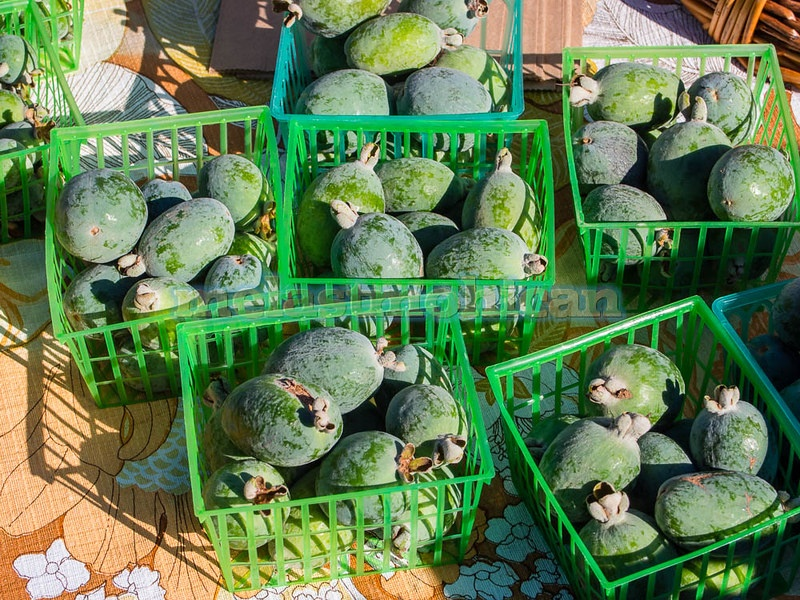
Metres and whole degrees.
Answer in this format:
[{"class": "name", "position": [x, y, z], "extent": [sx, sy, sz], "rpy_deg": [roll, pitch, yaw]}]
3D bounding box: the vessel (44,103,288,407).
[{"class": "vessel", "position": [-0.564, -0.147, 1.782], "extent": [0.612, 0.420, 0.732], "rpy_deg": [-6, 75, -10]}]

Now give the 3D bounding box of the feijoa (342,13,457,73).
[{"class": "feijoa", "position": [-0.007, -0.609, 1.813], "extent": [0.241, 0.148, 0.133], "rpy_deg": [-7, 10, 5]}]

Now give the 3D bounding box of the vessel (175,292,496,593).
[{"class": "vessel", "position": [-0.121, 0.311, 1.465], "extent": [0.575, 0.388, 0.551], "rpy_deg": [-6, 73, -7]}]

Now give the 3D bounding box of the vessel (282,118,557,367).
[{"class": "vessel", "position": [0.051, -0.128, 1.604], "extent": [0.625, 0.434, 0.562], "rpy_deg": [0, 73, 1]}]
